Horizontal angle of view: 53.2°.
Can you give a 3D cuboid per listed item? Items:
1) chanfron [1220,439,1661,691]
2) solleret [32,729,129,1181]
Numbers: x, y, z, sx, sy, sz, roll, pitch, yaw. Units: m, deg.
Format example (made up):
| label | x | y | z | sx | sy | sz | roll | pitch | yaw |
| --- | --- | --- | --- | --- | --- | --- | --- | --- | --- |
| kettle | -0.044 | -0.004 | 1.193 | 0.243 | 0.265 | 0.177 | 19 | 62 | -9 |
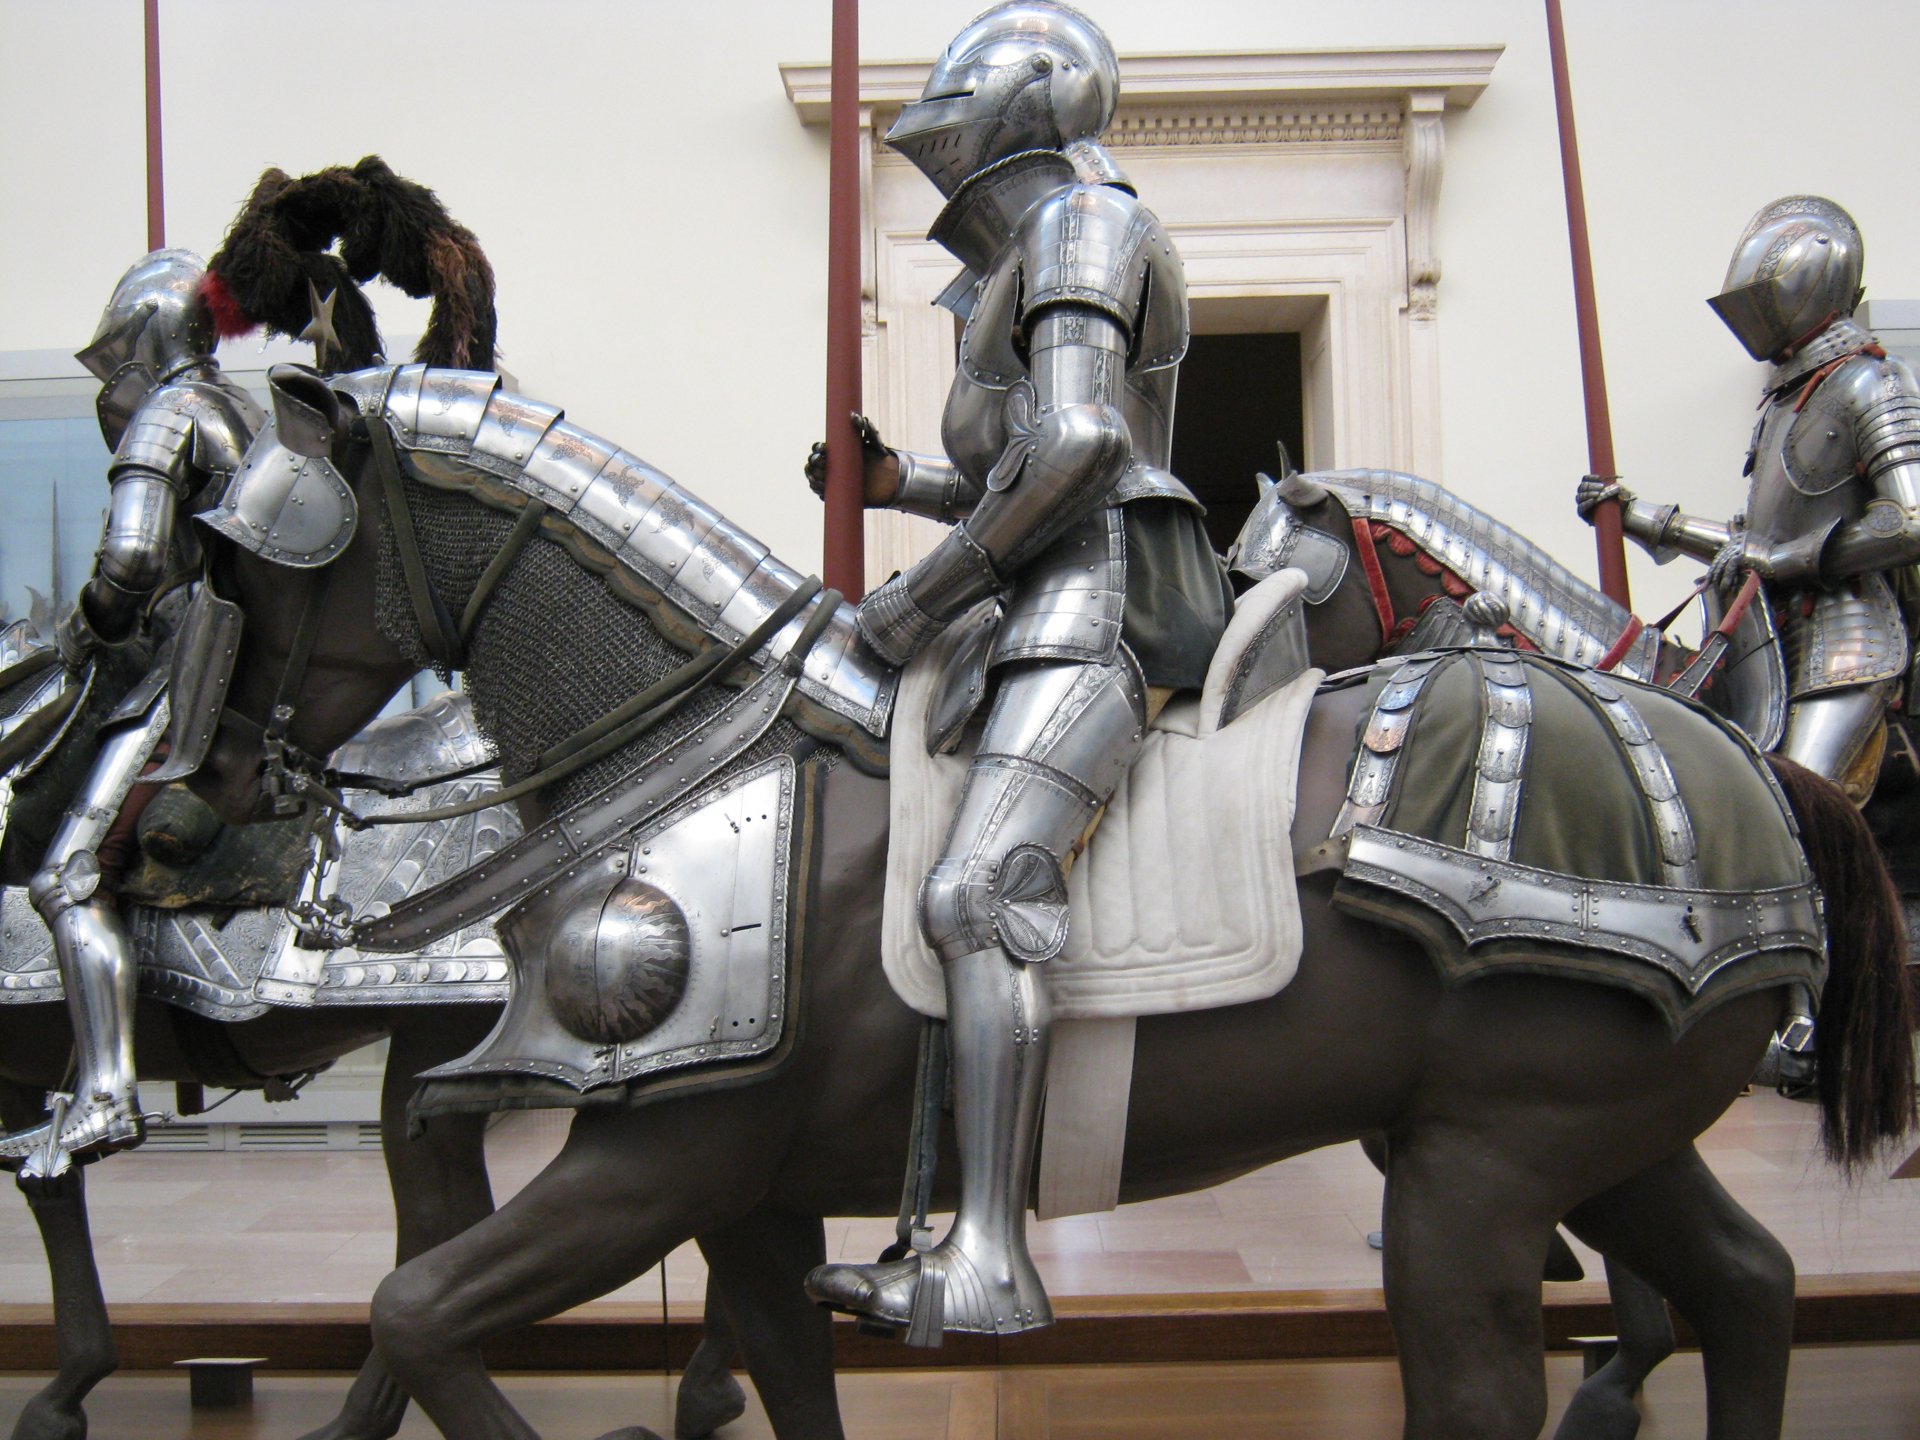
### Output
| label | x | y | z | sx | sy | sz | roll | pitch | yaw |
| --- | --- | --- | --- | --- | --- | --- | --- | --- | --- |
| chanfron | 1.090 | -0.335 | 4.407 | 0.659 | 0.624 | 0.507 | 7 | 7 | 20 |
| solleret | -1.820 | 0.483 | 4.024 | 0.250 | 0.868 | 0.256 | -1 | 10 | -30 |
